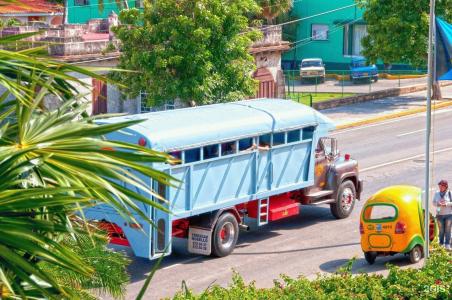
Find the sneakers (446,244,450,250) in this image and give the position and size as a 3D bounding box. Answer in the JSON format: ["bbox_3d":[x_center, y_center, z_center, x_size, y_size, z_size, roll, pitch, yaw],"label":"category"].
[{"bbox_3d":[6.784,2.985,26.479,0.157,0.138,0.252,-3,7,14],"label":"sneakers"}]

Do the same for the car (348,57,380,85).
[{"bbox_3d":[9.275,-5.645,59.684,1.847,1.498,3.301,-6,17,-5],"label":"car"}]

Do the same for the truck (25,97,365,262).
[{"bbox_3d":[0.312,0.695,29.017,3.585,4.566,10.696,4,10,43],"label":"truck"}]

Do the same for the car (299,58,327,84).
[{"bbox_3d":[5.972,-5.370,59.738,1.648,1.716,2.424,-4,7,8],"label":"car"}]
